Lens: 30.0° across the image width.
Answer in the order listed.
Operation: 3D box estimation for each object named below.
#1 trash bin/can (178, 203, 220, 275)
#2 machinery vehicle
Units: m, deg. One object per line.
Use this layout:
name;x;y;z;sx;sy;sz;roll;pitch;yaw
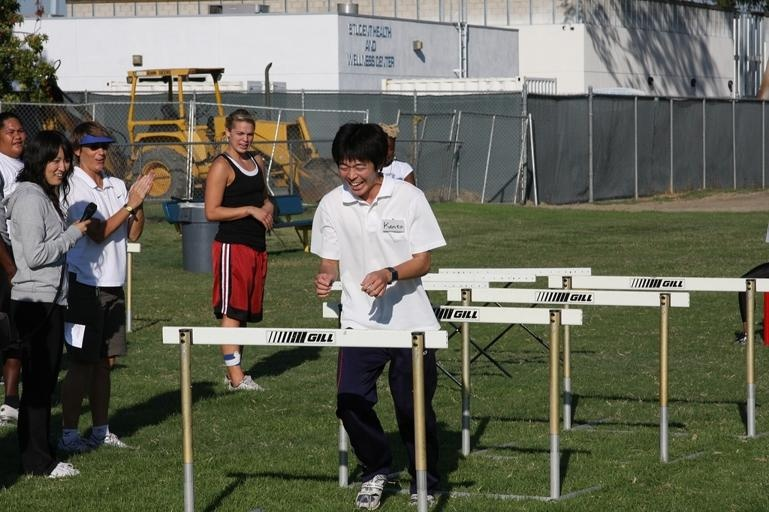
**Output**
trash bin/can;-3.747;-0.291;28.603;1.100;1.541;0.953;0;2;-5
machinery vehicle;-4.885;-3.270;39.466;6.165;4.382;3.477;-1;6;6
